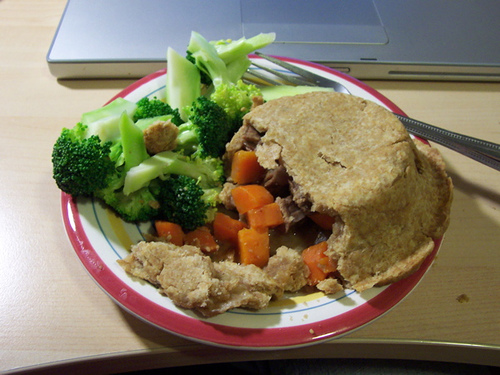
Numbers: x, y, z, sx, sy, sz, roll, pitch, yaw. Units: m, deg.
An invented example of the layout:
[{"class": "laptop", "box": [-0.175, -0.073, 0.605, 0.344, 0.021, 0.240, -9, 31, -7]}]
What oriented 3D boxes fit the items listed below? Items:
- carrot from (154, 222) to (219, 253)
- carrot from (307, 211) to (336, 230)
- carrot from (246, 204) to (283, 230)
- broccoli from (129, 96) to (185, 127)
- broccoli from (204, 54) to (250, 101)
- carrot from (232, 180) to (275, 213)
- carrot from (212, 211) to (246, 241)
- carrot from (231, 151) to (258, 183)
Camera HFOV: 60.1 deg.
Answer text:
[{"class": "carrot", "box": [-0.375, 0.303, 2.587, 0.378, 0.133, 0.163, 2, 61, -3]}, {"class": "carrot", "box": [0.431, 0.195, 2.586, 0.136, 0.125, 0.035, 21, 60, 34]}, {"class": "carrot", "box": [0.093, 0.174, 2.684, 0.280, 0.141, 0.156, -7, 78, -18]}, {"class": "broccoli", "box": [-0.615, -0.500, 2.800, 0.235, 0.082, 0.237, 24, 23, 30]}, {"class": "broccoli", "box": [-0.258, -0.934, 3.512, 0.224, 0.192, 0.855, -29, 31, -16]}, {"class": "carrot", "box": [0.033, 0.043, 2.669, 0.224, 0.138, 0.193, -15, 39, -23]}, {"class": "carrot", "box": [-0.130, 0.242, 2.713, 0.283, 0.133, 0.162, 11, 63, -4]}, {"class": "carrot", "box": [-0.029, -0.131, 2.698, 0.208, 0.221, 0.128, -4, 18, -17]}]
